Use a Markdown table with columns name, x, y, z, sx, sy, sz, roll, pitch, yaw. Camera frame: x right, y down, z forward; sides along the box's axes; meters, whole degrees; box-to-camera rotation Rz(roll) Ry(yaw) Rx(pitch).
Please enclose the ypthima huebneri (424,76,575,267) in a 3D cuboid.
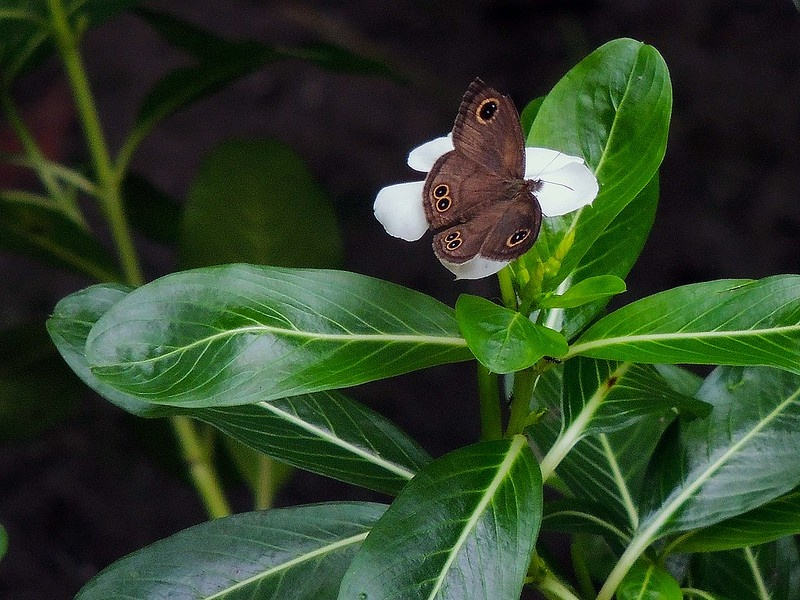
| name | x | y | z | sx | sy | sz | roll | pitch | yaw |
| --- | --- | --- | --- | --- | --- | --- | --- | --- | --- |
| ypthima huebneri | 0.090 | -0.137 | 0.893 | 0.139 | 0.194 | 0.060 | -8 | -16 | 10 |
